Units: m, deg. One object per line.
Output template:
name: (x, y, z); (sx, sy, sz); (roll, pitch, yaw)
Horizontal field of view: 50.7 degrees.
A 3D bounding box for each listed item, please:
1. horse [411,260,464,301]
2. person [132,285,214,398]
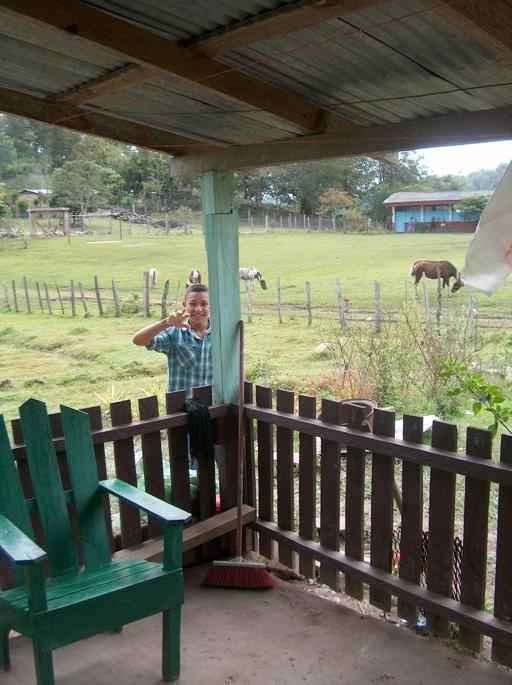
horse: (4.843, -1.835, 14.740); (1.103, 0.946, 1.468); (0, 2, 12)
person: (-0.453, -0.015, 3.400); (0.405, 0.721, 0.544); (1, 3, 17)
